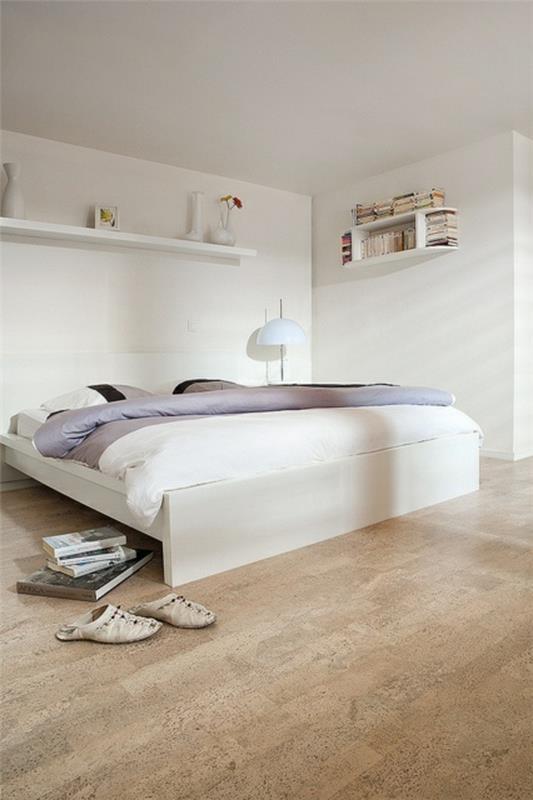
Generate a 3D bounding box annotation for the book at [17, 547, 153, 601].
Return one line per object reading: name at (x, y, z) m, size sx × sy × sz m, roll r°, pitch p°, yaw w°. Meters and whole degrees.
book at (-0.554, 0.524, 1.929) m, size 0.280 × 0.056 × 0.366 m, roll 0°, pitch 4°, yaw 16°

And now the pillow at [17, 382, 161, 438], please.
pillow at (-0.980, 0.017, 3.322) m, size 0.495 × 0.143 × 0.418 m, roll -8°, pitch 3°, yaw -41°

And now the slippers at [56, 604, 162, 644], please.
slippers at (-0.375, 0.541, 1.506) m, size 0.182 × 0.061 × 0.105 m, roll 0°, pitch -1°, yaw -7°

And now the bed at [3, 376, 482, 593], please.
bed at (-0.036, 0.226, 2.564) m, size 1.594 × 0.543 × 0.963 m, roll -5°, pitch 5°, yaw -40°

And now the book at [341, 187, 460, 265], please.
book at (0.939, -1.232, 4.501) m, size 0.245 × 0.425 × 0.977 m, roll -4°, pitch 5°, yaw -32°

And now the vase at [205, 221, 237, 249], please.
vase at (-0.343, -1.221, 4.591) m, size 0.209 × 0.275 × 0.202 m, roll -9°, pitch 23°, yaw -27°

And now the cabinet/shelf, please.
cabinet/shelf at (0.929, -1.165, 4.547) m, size 0.234 × 0.279 × 0.887 m, roll -4°, pitch 3°, yaw -40°

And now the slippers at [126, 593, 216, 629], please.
slippers at (-0.235, 0.505, 1.560) m, size 0.210 × 0.061 × 0.076 m, roll 3°, pitch 5°, yaw 19°

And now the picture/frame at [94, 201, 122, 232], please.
picture/frame at (-1.024, -1.162, 4.006) m, size 0.157 × 0.196 × 0.230 m, roll -3°, pitch 4°, yaw -12°

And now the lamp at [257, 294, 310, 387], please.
lamp at (0.108, -0.469, 4.910) m, size 0.354 × 0.676 × 0.633 m, roll -2°, pitch 4°, yaw -1°

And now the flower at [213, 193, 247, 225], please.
flower at (-0.289, -1.414, 4.760) m, size 0.257 × 0.252 × 0.230 m, roll -3°, pitch 3°, yaw -41°
